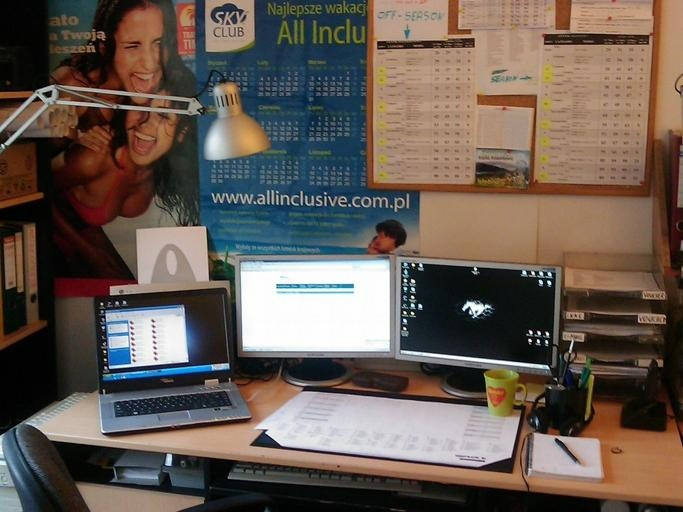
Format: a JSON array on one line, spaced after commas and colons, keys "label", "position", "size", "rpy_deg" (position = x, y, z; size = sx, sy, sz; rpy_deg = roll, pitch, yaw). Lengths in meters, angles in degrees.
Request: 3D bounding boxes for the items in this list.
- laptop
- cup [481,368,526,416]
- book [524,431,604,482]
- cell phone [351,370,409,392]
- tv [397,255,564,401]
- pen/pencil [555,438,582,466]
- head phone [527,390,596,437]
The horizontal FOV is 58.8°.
[{"label": "laptop", "position": [-0.616, 0.362, 2.120], "size": [0.503, 0.378, 0.459], "rpy_deg": [-6, 25, -13]}, {"label": "cup", "position": [0.530, 0.463, 2.047], "size": [0.160, 0.127, 0.113], "rpy_deg": [0, 2, 3]}, {"label": "book", "position": [0.648, 0.587, 1.773], "size": [0.223, 0.042, 0.189], "rpy_deg": [1, 14, 12]}, {"label": "cell phone", "position": [0.142, 0.461, 2.239], "size": [0.143, 0.031, 0.083], "rpy_deg": [3, 8, 20]}, {"label": "tv", "position": [0.487, 0.251, 2.127], "size": [0.442, 0.364, 0.176], "rpy_deg": [2, 8, 18]}, {"label": "pen/pencil", "position": [0.668, 0.575, 1.780], "size": [0.016, 0.018, 0.109], "rpy_deg": [8, 19, -16]}, {"label": "head phone", "position": [0.702, 0.463, 1.943], "size": [0.124, 0.066, 0.184], "rpy_deg": [1, 24, 9]}]
